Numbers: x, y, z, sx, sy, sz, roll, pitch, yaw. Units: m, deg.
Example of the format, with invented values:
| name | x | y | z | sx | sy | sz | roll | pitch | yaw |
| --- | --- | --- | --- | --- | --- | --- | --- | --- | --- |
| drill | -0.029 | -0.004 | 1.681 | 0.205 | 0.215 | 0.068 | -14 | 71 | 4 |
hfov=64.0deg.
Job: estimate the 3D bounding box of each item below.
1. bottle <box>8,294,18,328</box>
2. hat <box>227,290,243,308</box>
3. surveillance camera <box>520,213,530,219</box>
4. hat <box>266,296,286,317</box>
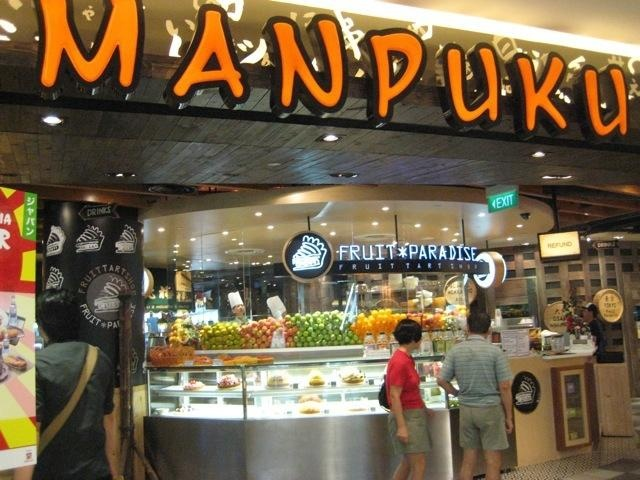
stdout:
| name | x | y | z | sx | sy | sz | roll | pitch | yaw |
| --- | --- | --- | --- | --- | --- | --- | --- | --- | --- |
| bottle | -1.445 | 0.337 | 2.416 | 0.010 | 0.141 | 0.038 | -10 | -9 | 39 |
| hat | -1.504 | 1.055 | 9.197 | 0.273 | 0.302 | 0.203 | -11 | -45 | -21 |
| surveillance camera | 3.713 | -0.445 | 9.265 | 0.178 | 0.103 | 0.115 | 1 | -19 | 7 |
| hat | -0.770 | 1.153 | 8.910 | 0.232 | 0.378 | 0.234 | -28 | -12 | -25 |
